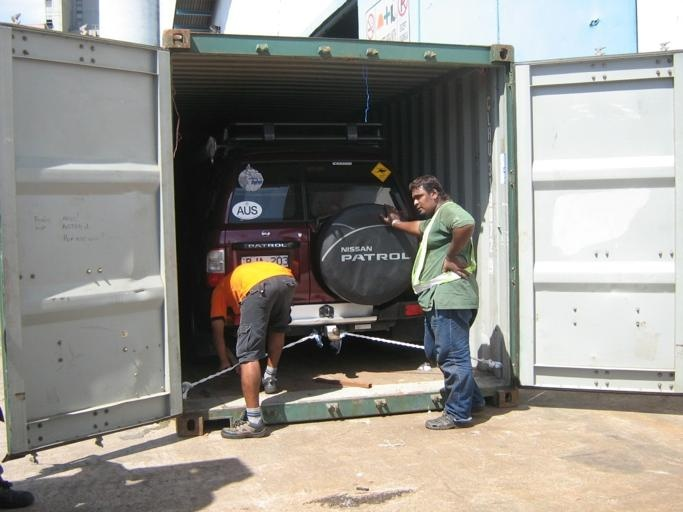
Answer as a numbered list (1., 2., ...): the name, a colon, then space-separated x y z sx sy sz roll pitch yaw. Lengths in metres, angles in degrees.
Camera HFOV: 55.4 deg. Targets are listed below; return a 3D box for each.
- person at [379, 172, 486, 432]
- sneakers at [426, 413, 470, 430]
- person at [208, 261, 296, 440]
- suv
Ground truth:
1. person: 0.915 0.419 6.009 0.733 2.267 0.683 3 8 26
2. sneakers: 0.961 1.506 5.937 0.405 0.204 0.162 5 -6 -10
3. person: -0.814 0.816 6.071 0.776 1.494 0.926 -2 8 -12
4. suv: -0.502 -0.409 7.885 1.588 1.893 2.962 0 0 -9
